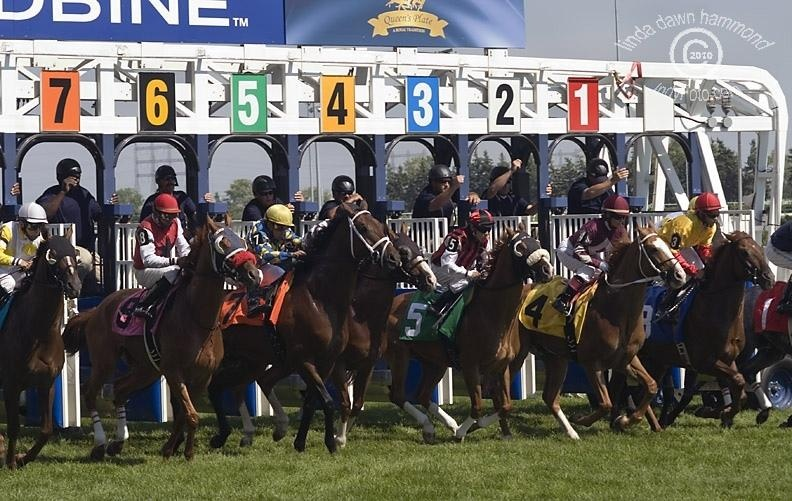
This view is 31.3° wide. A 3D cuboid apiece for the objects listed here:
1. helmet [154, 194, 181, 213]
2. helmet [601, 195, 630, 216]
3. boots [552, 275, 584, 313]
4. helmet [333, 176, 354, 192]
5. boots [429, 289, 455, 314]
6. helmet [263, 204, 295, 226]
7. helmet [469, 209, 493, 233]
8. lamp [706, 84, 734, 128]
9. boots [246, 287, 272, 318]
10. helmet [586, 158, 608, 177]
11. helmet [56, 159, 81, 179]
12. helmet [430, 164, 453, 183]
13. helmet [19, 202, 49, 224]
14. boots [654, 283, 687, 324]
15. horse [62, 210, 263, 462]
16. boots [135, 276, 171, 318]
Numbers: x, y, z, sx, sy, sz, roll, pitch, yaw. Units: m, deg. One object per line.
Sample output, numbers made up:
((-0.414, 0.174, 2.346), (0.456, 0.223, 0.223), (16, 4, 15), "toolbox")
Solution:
((-2.691, -0.564, 16.592), (0.263, 0.137, 0.207), (7, 17, 6), "helmet")
((2.685, -0.577, 17.193), (0.289, 0.171, 0.215), (17, 14, 11), "helmet")
((2.075, 0.531, 16.897), (0.304, 0.396, 0.123), (39, -13, 46), "boots")
((-0.684, -0.860, 18.277), (0.264, 0.228, 0.215), (-1, -3, -3), "helmet")
((0.559, 0.608, 16.893), (0.185, 0.328, 0.078), (37, -4, 22), "boots")
((-1.439, -0.450, 17.374), (0.316, 0.165, 0.248), (10, 15, 17), "helmet")
((1.051, -0.358, 16.913), (0.230, 0.237, 0.286), (-7, 6, -34), "helmet")
((5.058, -2.216, 22.008), (0.395, 0.667, 0.416), (-2, -2, 13), "lamp")
((-1.601, 0.594, 16.450), (0.259, 0.360, 0.143), (2, -17, 28), "boots")
((2.882, -1.160, 20.019), (0.236, 0.298, 0.269), (6, -3, -10), "helmet")
((-4.319, -1.083, 18.577), (0.278, 0.265, 0.237), (-1, -3, -11), "helmet")
((0.612, -1.091, 19.524), (0.262, 0.212, 0.223), (-26, 31, -23), "helmet")
((-4.180, -0.433, 16.193), (0.296, 0.255, 0.384), (0, -3, -15), "helmet")
((3.374, 0.614, 17.162), (0.262, 0.614, 0.204), (19, 27, -23), "boots")
((-2.655, 1.020, 16.084), (2.561, 2.694, 0.706), (-3, -3, 34), "horse")
((-2.766, 0.540, 16.144), (0.171, 0.102, 0.439), (30, 19, 7), "boots")
